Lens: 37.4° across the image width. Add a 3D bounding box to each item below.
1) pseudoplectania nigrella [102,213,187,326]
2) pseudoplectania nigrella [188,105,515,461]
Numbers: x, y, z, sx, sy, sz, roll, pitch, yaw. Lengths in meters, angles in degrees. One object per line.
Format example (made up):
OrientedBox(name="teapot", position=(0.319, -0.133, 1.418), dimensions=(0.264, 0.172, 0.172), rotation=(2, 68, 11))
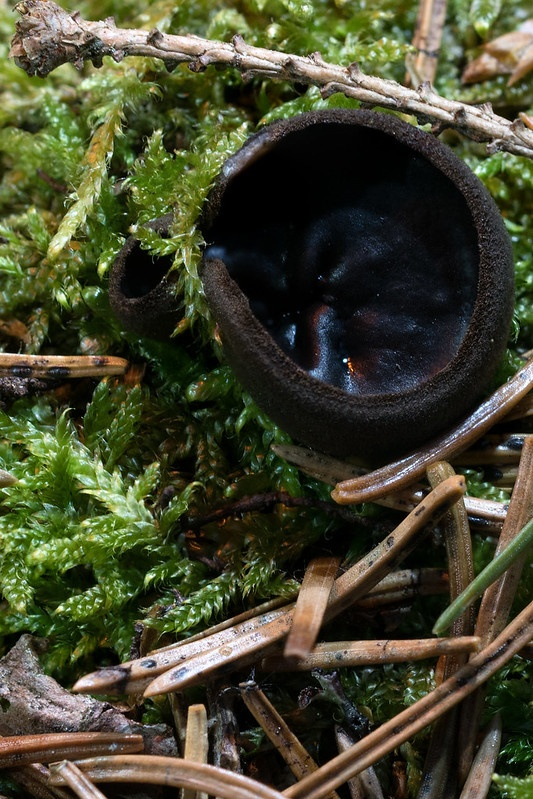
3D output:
OrientedBox(name="pseudoplectania nigrella", position=(-0.229, -0.198, 1.472), dimensions=(0.125, 0.201, 0.186), rotation=(-8, 39, -10))
OrientedBox(name="pseudoplectania nigrella", position=(0.110, -0.188, 1.432), dimensions=(0.580, 0.286, 0.588), rotation=(-9, 77, -26))
